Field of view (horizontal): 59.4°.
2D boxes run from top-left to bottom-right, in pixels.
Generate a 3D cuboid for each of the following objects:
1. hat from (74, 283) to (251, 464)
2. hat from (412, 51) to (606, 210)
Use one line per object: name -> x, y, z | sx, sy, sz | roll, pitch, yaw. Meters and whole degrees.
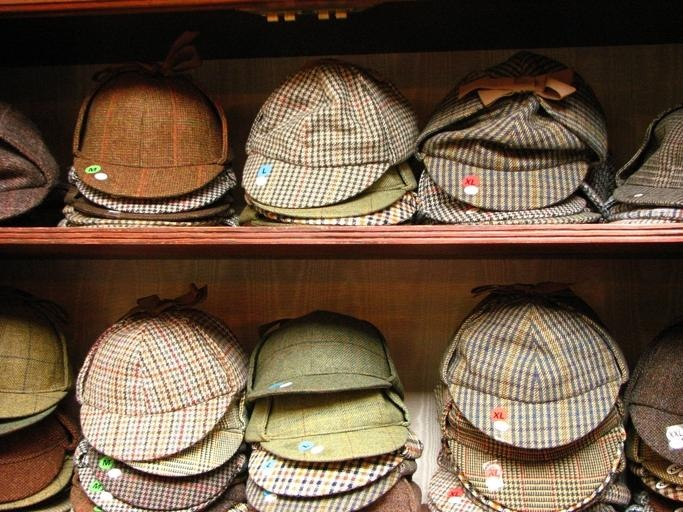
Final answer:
hat -> -0.371, 0.245, 1.317 | 0.310, 0.179, 0.365 | 2, 25, 18
hat -> 0.340, -0.232, 1.188 | 0.335, 0.122, 0.381 | 4, 31, 16
